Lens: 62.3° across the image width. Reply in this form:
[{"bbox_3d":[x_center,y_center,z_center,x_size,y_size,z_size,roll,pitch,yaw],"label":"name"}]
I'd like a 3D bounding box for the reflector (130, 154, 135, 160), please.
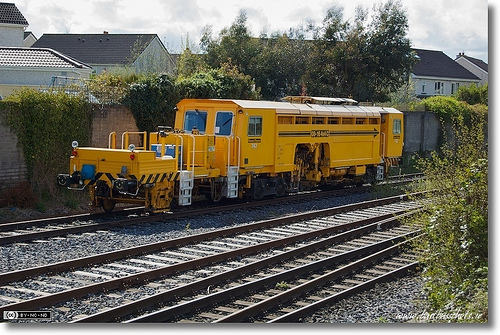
[{"bbox_3d":[-3.707,-0.350,13.084,0.154,0.174,0.038,1,0,10],"label":"reflector"}]

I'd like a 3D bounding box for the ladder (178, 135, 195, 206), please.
[{"bbox_3d":[-2.252,0.105,14.715,0.588,2.510,0.799,-1,4,-20],"label":"ladder"}]

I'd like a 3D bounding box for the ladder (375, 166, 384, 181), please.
[{"bbox_3d":[7.171,0.314,23.025,0.244,0.823,0.713,3,5,42],"label":"ladder"}]

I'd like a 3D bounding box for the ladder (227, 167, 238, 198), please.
[{"bbox_3d":[-0.665,0.559,15.959,0.561,1.189,0.220,-4,5,-44],"label":"ladder"}]

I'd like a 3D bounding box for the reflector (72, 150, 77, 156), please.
[{"bbox_3d":[-5.869,-0.487,13.901,0.121,0.184,0.119,-2,4,-23],"label":"reflector"}]

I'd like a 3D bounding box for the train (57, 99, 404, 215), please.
[{"bbox_3d":[1.474,-0.657,20.071,5.053,4.947,19.393,7,9,44],"label":"train"}]
